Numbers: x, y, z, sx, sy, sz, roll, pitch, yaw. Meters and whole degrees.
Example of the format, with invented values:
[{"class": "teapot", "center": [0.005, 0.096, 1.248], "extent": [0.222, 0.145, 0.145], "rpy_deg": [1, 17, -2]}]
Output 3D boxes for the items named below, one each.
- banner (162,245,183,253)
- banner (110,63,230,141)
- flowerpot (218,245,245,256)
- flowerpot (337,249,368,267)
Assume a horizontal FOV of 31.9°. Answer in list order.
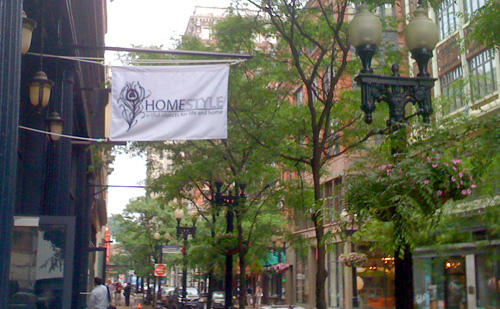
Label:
[{"class": "banner", "center": [-4.268, 5.084, 47.455], "extent": [0.824, 0.455, 0.197], "rpy_deg": [4, -12, -17]}, {"class": "banner", "center": [-2.638, -1.682, 28.065], "extent": [3.893, 2.518, 0.251], "rpy_deg": [0, -12, 2]}, {"class": "flowerpot", "center": [-0.728, 4.120, 37.635], "extent": [0.703, 0.420, 1.504], "rpy_deg": [8, -22, -26]}, {"class": "flowerpot", "center": [3.191, 3.225, 26.804], "extent": [0.860, 0.533, 0.846], "rpy_deg": [-8, -5, 30]}]
